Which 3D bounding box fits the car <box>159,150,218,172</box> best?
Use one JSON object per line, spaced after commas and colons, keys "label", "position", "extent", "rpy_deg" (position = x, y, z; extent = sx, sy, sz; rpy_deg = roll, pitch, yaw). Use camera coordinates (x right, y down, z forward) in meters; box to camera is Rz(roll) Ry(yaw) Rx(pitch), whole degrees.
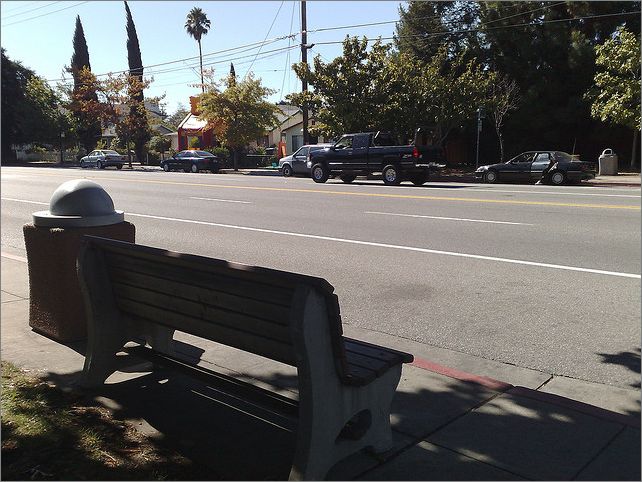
{"label": "car", "position": [-9.538, -5.719, 39.066], "extent": [4.435, 1.607, 1.574], "rpy_deg": [5, 11, 30]}

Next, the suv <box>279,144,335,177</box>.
{"label": "suv", "position": [-1.282, -4.776, 32.099], "extent": [1.609, 1.640, 2.918], "rpy_deg": [-12, 19, -40]}

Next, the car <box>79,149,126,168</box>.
{"label": "car", "position": [-17.854, -6.641, 44.064], "extent": [3.491, 1.471, 1.715], "rpy_deg": [5, 11, 31]}

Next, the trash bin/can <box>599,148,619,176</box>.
{"label": "trash bin/can", "position": [15.066, -3.971, 28.262], "extent": [0.832, 1.049, 0.572], "rpy_deg": [3, 9, 20]}
